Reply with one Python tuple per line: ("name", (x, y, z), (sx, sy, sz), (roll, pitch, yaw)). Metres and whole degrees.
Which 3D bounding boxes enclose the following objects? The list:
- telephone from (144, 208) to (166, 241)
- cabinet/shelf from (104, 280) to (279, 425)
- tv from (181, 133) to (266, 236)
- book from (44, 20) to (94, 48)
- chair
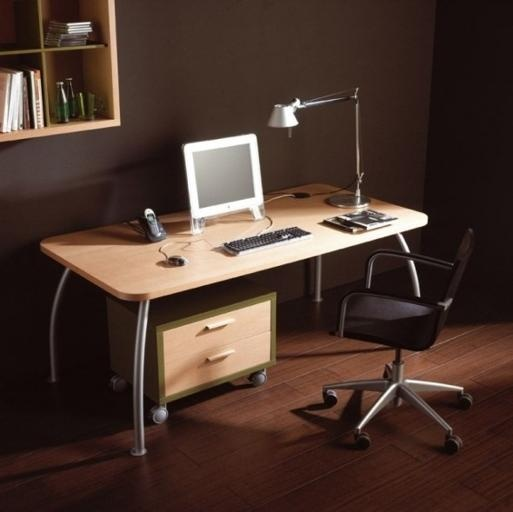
("telephone", (-0.498, -0.154, 2.408), (0.081, 0.064, 0.174), (-16, 61, -32))
("cabinet/shelf", (-0.248, 0.332, 2.495), (0.869, 0.618, 0.629), (-10, 19, -35))
("tv", (-0.170, -0.350, 2.564), (0.573, 0.478, 0.113), (-14, 18, -33))
("book", (-0.785, -0.913, 2.085), (0.204, 0.099, 0.114), (-2, 21, -5))
("chair", (0.618, 0.225, 2.479), (0.920, 1.015, 0.892), (5, 19, 16))
